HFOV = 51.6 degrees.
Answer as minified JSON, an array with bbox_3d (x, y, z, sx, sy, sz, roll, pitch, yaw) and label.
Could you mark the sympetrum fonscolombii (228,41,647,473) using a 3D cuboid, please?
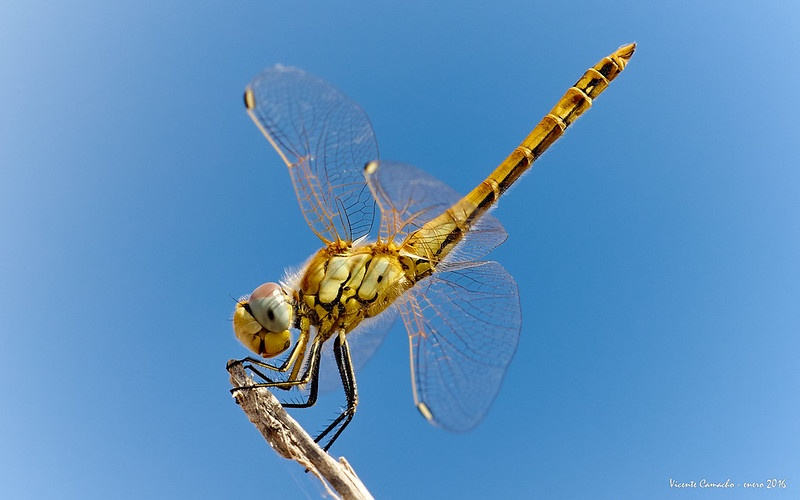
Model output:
[{"bbox_3d":[0.483,-0.245,8.377,4.734,4.338,2.438,-21,-54,-30],"label":"sympetrum fonscolombii"}]
